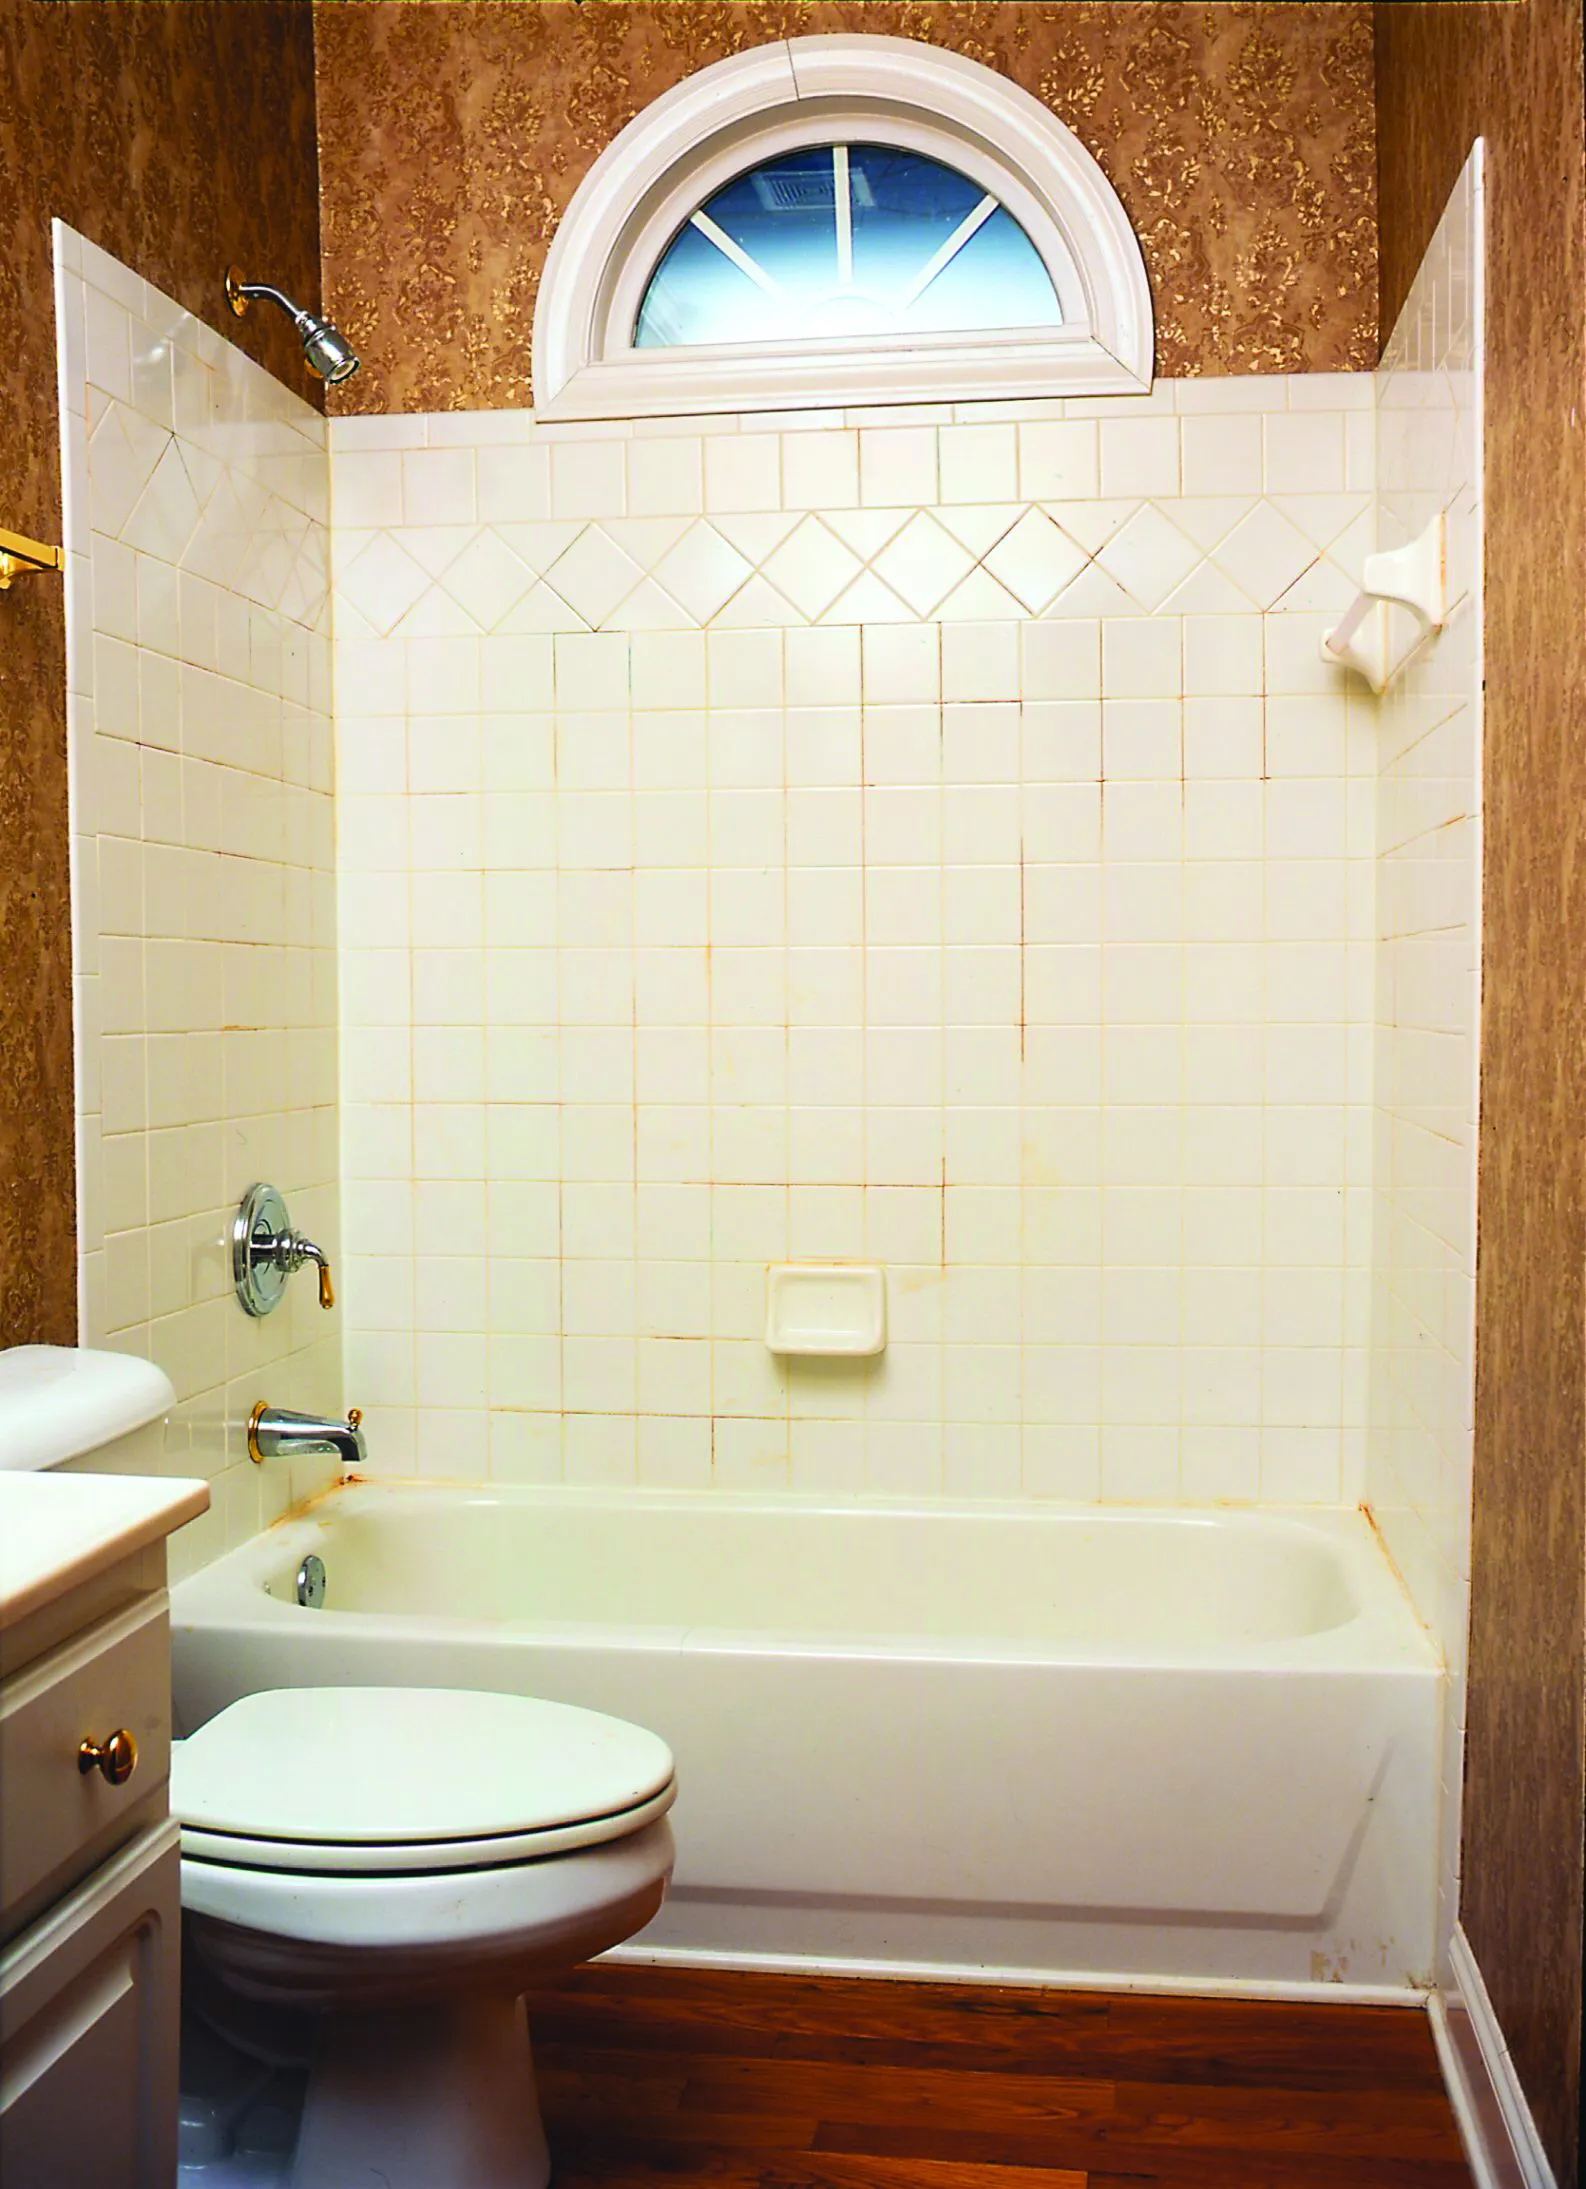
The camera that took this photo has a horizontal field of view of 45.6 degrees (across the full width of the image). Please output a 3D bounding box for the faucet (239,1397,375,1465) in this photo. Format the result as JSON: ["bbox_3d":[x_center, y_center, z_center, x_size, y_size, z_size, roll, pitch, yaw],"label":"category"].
[{"bbox_3d":[-0.637,0.445,2.508,0.142,0.080,0.086,1,-1,0],"label":"faucet"}]
